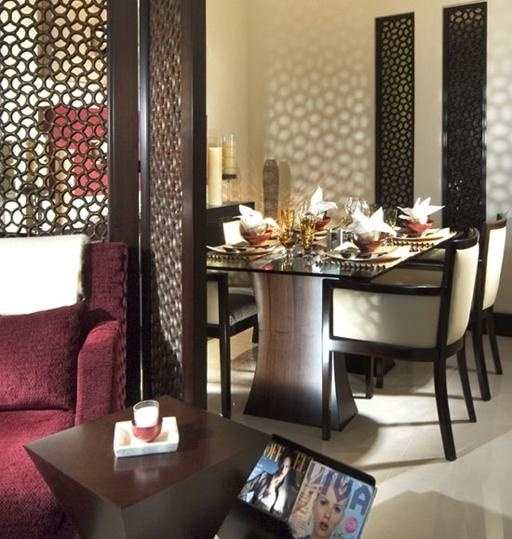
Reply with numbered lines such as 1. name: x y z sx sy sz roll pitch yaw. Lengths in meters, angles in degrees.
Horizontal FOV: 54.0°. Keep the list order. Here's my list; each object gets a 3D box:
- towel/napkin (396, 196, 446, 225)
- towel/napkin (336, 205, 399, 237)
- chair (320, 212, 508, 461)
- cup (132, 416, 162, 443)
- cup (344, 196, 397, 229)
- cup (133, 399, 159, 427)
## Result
1. towel/napkin: 1.129 -0.394 3.377 0.244 0.157 0.270 -6 -7 28
2. towel/napkin: 0.532 -0.184 2.270 0.184 0.102 0.207 6 4 -13
3. chair: 0.802 0.179 2.674 0.817 1.635 0.971 3 6 25
4. cup: -0.229 0.334 1.052 0.038 0.037 0.042 -1 1 -1
5. cup: 0.580 -0.302 2.580 0.258 0.254 0.241 -2 9 0
6. cup: -0.237 0.309 1.086 0.048 0.044 0.045 -1 7 0
